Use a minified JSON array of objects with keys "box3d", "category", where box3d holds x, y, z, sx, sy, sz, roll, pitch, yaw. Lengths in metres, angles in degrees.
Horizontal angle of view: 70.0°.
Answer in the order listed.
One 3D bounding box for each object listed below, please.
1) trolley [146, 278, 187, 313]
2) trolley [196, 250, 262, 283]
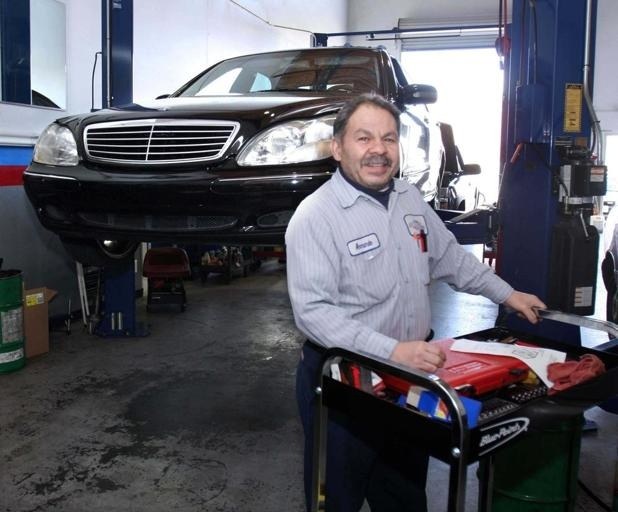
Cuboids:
[{"box3d":[-1.661,0.371,5.112,0.380,0.563,0.574,2,-1,-16],"category":"trolley"},{"box3d":[-1.165,0.062,6.581,0.573,0.525,0.895,1,5,13],"category":"trolley"}]
